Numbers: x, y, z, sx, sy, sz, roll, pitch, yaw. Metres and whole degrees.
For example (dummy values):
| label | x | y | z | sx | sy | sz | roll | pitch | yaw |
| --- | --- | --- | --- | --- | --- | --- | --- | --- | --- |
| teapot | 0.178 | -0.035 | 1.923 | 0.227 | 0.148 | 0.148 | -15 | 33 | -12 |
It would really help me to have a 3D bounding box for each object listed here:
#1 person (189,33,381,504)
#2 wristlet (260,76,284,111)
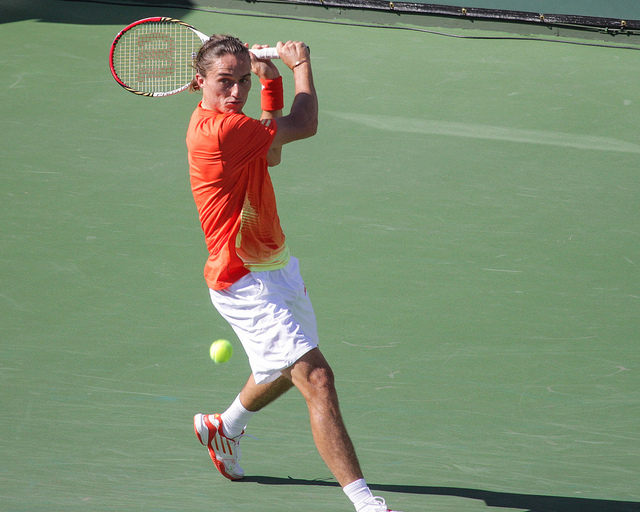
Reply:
| label | x | y | z | sx | sy | sz | roll | pitch | yaw |
| --- | --- | --- | --- | --- | --- | --- | --- | --- | --- |
| person | -0.264 | 0.059 | 6.462 | 1.043 | 2.621 | 1.382 | 3 | 17 | -6 |
| wristlet | -0.282 | -0.982 | 6.739 | 0.135 | 0.205 | 0.135 | 3 | 17 | -4 |
